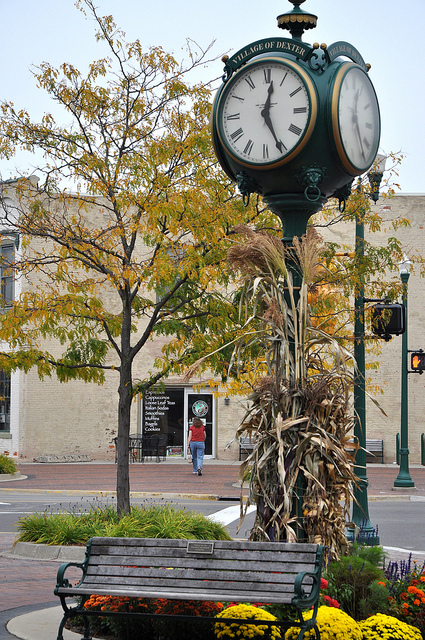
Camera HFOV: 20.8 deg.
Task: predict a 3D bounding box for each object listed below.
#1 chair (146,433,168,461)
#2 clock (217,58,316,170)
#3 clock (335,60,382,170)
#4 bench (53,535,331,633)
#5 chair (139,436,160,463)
[{"bbox_3d":[-1.545,3.417,32.110,0.440,0.553,0.388,0,-14,3],"label":"chair"},{"bbox_3d":[0.345,-1.401,7.960,0.724,0.732,0.194,-5,-7,38],"label":"clock"},{"bbox_3d":[1.038,-1.429,8.205,0.093,0.794,0.787,-8,20,-13],"label":"clock"},{"bbox_3d":[-0.106,1.767,7.631,1.799,0.665,1.285,-2,-6,12],"label":"bench"},{"bbox_3d":[-1.762,3.445,31.899,0.632,0.796,0.546,0,-31,2],"label":"chair"}]
